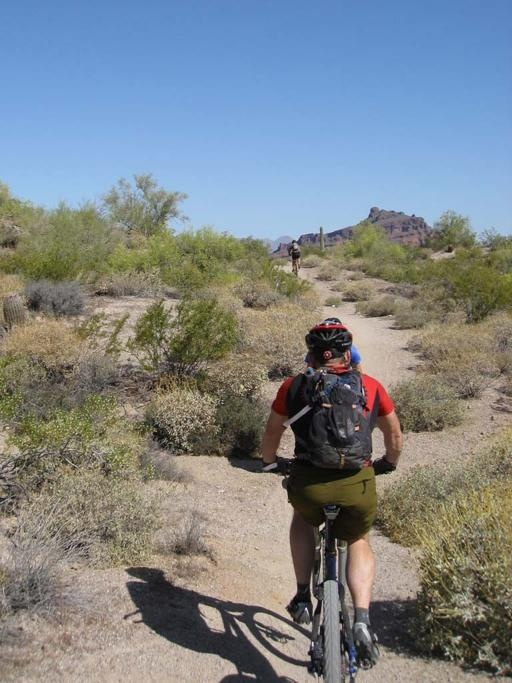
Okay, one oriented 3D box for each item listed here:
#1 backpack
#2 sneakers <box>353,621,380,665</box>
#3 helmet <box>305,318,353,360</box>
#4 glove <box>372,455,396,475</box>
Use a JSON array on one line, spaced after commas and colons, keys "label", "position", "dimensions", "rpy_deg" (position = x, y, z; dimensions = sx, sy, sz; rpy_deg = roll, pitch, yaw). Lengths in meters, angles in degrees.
[{"label": "backpack", "position": [0.426, 0.413, 3.123], "dimensions": [0.364, 0.522, 0.332], "rpy_deg": [1, 2, 8]}, {"label": "sneakers", "position": [0.569, 1.502, 2.998], "dimensions": [0.093, 0.272, 0.124], "rpy_deg": [-4, 36, 17]}, {"label": "helmet", "position": [0.414, -0.026, 3.366], "dimensions": [0.180, 0.147, 0.265], "rpy_deg": [1, 12, 13]}, {"label": "glove", "position": [0.779, 0.747, 3.609], "dimensions": [0.112, 0.090, 0.158], "rpy_deg": [-3, -3, 21]}]
